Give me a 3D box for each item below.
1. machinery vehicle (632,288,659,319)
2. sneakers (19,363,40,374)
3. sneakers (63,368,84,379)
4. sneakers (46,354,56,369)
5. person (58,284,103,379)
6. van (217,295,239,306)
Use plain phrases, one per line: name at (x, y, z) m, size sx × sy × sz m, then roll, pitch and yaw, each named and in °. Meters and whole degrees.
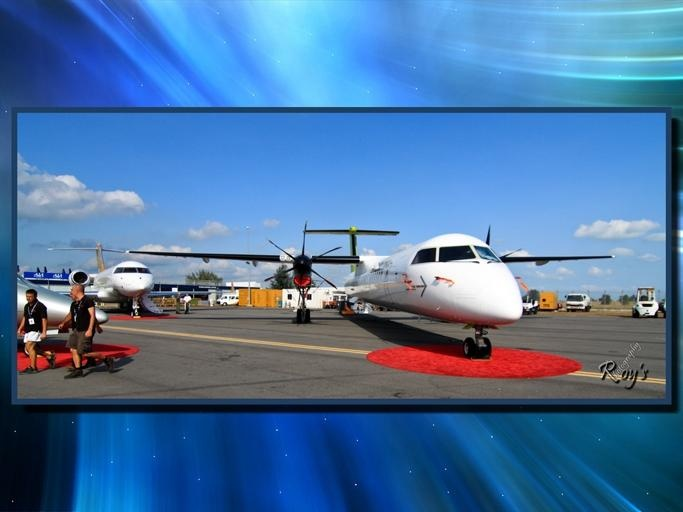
machinery vehicle at (16.048, 2.491, 27.101) m, size 1.036 × 1.534 × 2.223 m, roll -1°, pitch 0°, yaw 29°
sneakers at (-5.556, 2.010, 9.204) m, size 0.312 × 0.115 × 0.167 m, roll 12°, pitch -16°, yaw -37°
sneakers at (-4.564, 1.987, 8.871) m, size 0.344 × 0.162 × 0.245 m, roll -1°, pitch 0°, yaw 31°
sneakers at (-5.319, 1.894, 9.487) m, size 0.167 × 0.363 × 0.138 m, roll -2°, pitch -5°, yaw -38°
person at (-4.653, 1.300, 9.234) m, size 0.688 × 1.441 × 1.147 m, roll -1°, pitch 1°, yaw -28°
van at (-11.451, 4.508, 52.854) m, size 1.826 × 0.822 × 1.232 m, roll 2°, pitch -6°, yaw -1°
